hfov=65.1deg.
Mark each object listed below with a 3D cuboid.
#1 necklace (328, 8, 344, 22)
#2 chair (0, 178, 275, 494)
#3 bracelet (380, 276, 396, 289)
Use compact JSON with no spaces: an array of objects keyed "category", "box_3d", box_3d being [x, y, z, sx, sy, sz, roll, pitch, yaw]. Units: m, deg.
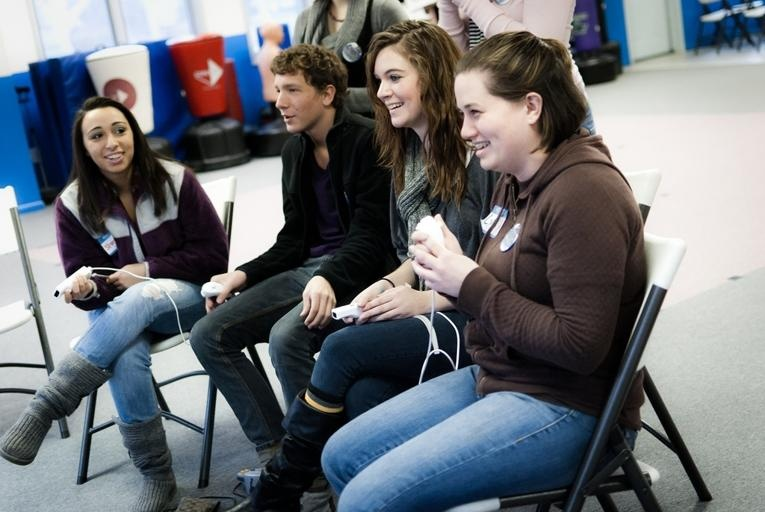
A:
[{"category":"necklace","box_3d":[-0.292,-1.485,3.681,0.075,0.086,0.020,-9,48,18]},{"category":"chair","box_3d":[-1.260,0.246,3.377,1.046,2.060,1.431,3,7,23]},{"category":"bracelet","box_3d":[0.024,0.095,2.319,0.040,0.015,0.038,38,12,-20]}]
